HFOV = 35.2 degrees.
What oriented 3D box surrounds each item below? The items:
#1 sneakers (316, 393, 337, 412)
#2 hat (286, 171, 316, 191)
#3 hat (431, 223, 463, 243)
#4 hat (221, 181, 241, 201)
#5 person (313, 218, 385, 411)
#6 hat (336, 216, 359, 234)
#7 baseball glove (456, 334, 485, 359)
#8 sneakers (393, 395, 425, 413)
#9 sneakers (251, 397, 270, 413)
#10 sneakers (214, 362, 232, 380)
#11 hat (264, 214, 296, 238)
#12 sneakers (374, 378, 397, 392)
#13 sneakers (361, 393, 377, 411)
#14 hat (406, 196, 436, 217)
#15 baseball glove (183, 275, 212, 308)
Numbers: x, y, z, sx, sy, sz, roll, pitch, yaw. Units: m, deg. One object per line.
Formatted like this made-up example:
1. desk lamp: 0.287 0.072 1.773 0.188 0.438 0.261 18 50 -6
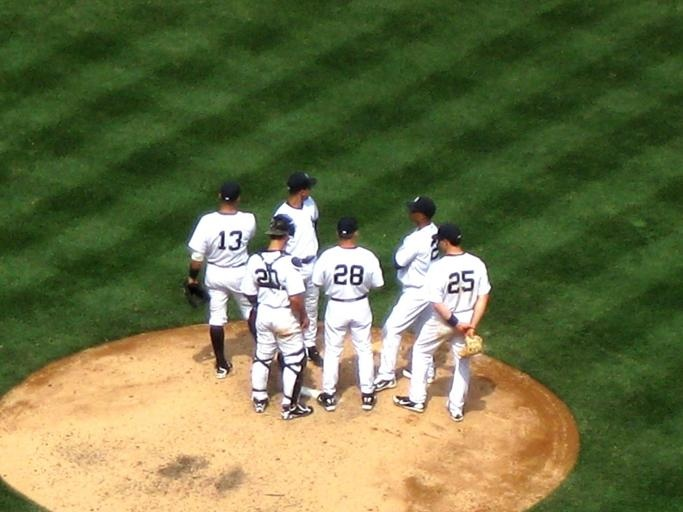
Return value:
1. sneakers: -0.227 2.265 16.690 0.158 0.269 0.383 -4 31 -19
2. hat: -0.615 -1.171 16.901 0.369 0.251 0.430 13 39 5
3. hat: 1.576 -0.334 16.026 0.343 0.188 0.254 23 28 36
4. hat: -1.739 -1.013 16.802 0.283 0.265 0.289 2 40 -9
5. person: 0.109 0.788 16.837 0.999 3.090 0.960 -1 24 -3
6. hat: 0.089 -0.458 16.231 0.276 0.237 0.330 5 39 -5
7. baseball glove: 1.918 1.359 16.038 0.312 0.443 0.213 23 41 18
8. sneakers: 1.033 2.300 16.687 0.537 0.228 0.198 18 15 20
9. sneakers: -1.242 2.301 16.671 0.204 0.225 0.207 23 37 33
10. sneakers: -1.905 1.858 17.258 0.120 0.156 0.343 2 15 16
11. hat: -0.910 -0.431 16.190 0.297 0.235 0.413 5 18 4
12. sneakers: 0.691 2.035 17.032 0.369 0.163 0.149 -10 46 -8
13. sneakers: 0.412 2.255 16.663 0.159 0.296 0.127 0 1 0
14. hat: 1.216 -0.766 16.461 0.409 0.314 0.318 6 39 -4
15. baseball glove: -2.321 0.577 17.538 0.212 0.446 0.604 -6 10 -23
